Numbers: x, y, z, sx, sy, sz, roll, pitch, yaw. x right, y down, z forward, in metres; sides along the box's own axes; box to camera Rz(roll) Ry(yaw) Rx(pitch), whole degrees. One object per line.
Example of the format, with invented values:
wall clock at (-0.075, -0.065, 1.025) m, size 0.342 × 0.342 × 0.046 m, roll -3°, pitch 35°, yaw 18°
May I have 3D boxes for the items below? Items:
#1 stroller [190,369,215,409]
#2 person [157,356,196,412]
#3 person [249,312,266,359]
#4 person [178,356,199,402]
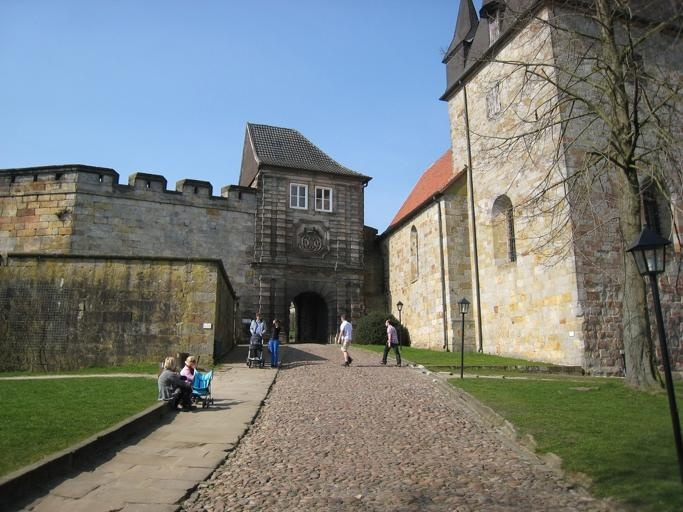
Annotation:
stroller at (-3.364, 3.267, 13.501) m, size 0.525 × 0.907 × 0.820 m, roll 0°, pitch -18°, yaw -3°
person at (-3.957, 3.025, 13.030) m, size 0.760 × 1.278 × 0.561 m, roll -1°, pitch 5°, yaw -26°
person at (-2.973, 2.792, 19.204) m, size 0.479 × 1.313 × 1.392 m, roll 1°, pitch 1°, yaw -10°
person at (-3.736, 3.006, 13.435) m, size 0.503 × 1.138 × 0.555 m, roll 0°, pitch 2°, yaw -38°
